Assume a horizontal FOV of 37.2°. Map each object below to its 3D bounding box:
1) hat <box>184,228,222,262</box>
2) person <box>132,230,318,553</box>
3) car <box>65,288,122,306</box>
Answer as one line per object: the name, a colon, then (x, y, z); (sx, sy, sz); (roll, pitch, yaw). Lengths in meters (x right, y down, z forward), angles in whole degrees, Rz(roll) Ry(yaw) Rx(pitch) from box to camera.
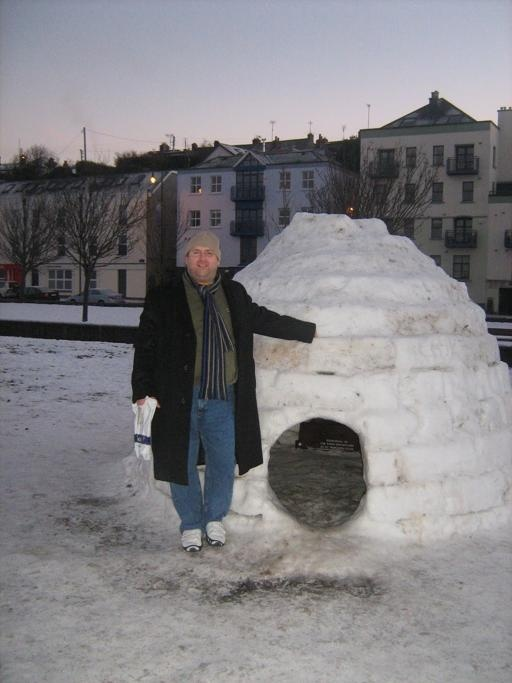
hat: (-0.279, -0.516, 4.021); (0.154, 0.173, 0.203); (3, -25, -1)
person: (-0.238, 0.257, 4.045); (0.856, 1.661, 0.392); (0, 5, -14)
car: (-7.911, -1.996, 36.108); (2.743, 0.910, 1.158); (6, 8, 16)
